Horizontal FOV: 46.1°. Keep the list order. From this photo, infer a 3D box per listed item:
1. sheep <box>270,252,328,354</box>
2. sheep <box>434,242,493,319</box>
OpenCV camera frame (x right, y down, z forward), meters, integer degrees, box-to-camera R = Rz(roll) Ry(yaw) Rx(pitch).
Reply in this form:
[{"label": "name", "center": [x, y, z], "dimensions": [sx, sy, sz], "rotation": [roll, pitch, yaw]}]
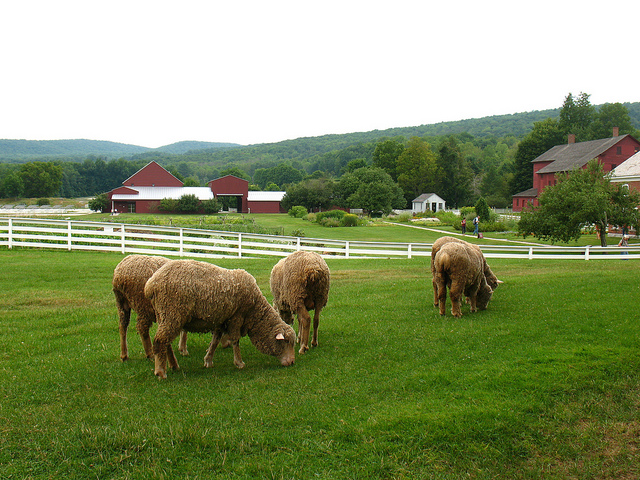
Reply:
[{"label": "sheep", "center": [-0.698, 1.635, 20.778], "dimensions": [1.350, 2.711, 3.662], "rotation": [0, 0, -23]}, {"label": "sheep", "center": [4.083, 1.105, 21.596], "dimensions": [1.659, 2.082, 0.845], "rotation": [-4, 4, -41]}]
